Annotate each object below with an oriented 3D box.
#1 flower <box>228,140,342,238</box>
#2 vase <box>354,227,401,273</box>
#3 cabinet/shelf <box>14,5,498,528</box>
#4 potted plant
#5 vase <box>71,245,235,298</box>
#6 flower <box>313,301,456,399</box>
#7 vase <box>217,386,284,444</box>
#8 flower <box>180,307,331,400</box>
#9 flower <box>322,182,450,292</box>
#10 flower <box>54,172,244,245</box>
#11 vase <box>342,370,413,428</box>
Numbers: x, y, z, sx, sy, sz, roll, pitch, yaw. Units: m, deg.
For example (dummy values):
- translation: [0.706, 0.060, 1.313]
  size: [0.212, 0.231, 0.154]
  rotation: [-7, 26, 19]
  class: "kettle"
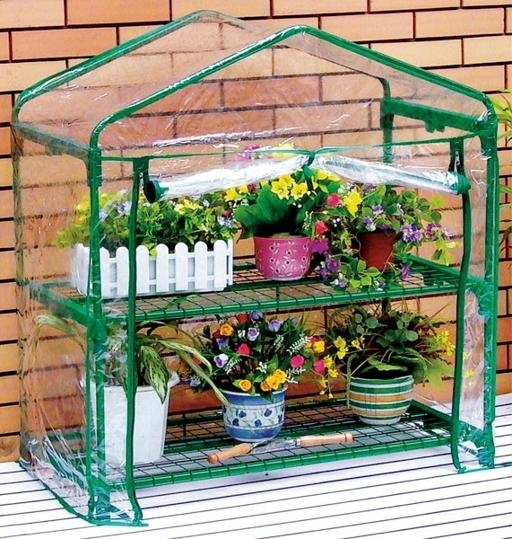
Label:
- translation: [0.087, -0.181, 2.524]
  size: [0.288, 0.187, 0.116]
  rotation: [-3, 6, 5]
  class: "flower"
- translation: [0.340, -0.056, 2.617]
  size: [0.127, 0.088, 0.112]
  rotation: [-1, -2, -6]
  class: "vase"
- translation: [0.006, 0.004, 2.717]
  size: [1.296, 1.097, 0.788]
  rotation: [-6, -1, -19]
  class: "cabinet/shelf"
- translation: [-0.348, 0.286, 2.530]
  size: [0.502, 0.307, 0.472]
  rotation: [1, 1, -22]
  class: "potted plant"
- translation: [-0.232, -0.005, 2.401]
  size: [0.481, 0.157, 0.157]
  rotation: [-6, 6, -30]
  class: "vase"
- translation: [0.357, 0.258, 2.869]
  size: [0.528, 0.240, 0.375]
  rotation: [-3, 10, 3]
  class: "flower"
- translation: [-0.002, 0.416, 2.659]
  size: [0.177, 0.108, 0.159]
  rotation: [0, -1, -3]
  class: "vase"
- translation: [0.021, 0.243, 2.616]
  size: [0.296, 0.118, 0.302]
  rotation: [20, 22, 41]
  class: "flower"
- translation: [0.334, -0.115, 2.662]
  size: [0.416, 0.233, 0.252]
  rotation: [-1, 14, -1]
  class: "flower"
- translation: [-0.224, -0.133, 2.417]
  size: [0.517, 0.166, 0.251]
  rotation: [-6, 7, -32]
  class: "flower"
- translation: [0.347, 0.399, 2.805]
  size: [0.231, 0.149, 0.230]
  rotation: [14, -17, -37]
  class: "vase"
